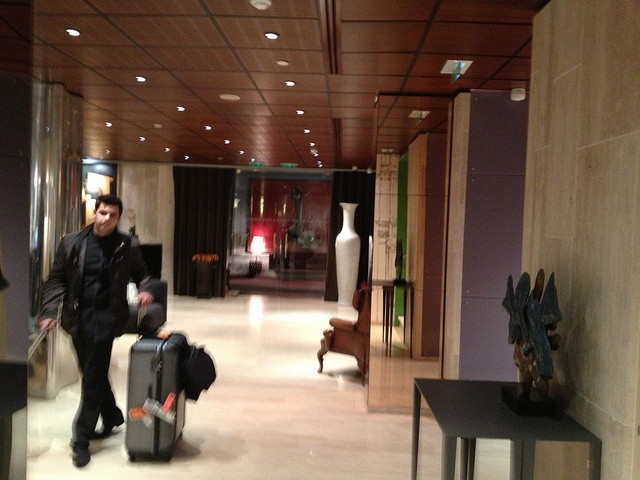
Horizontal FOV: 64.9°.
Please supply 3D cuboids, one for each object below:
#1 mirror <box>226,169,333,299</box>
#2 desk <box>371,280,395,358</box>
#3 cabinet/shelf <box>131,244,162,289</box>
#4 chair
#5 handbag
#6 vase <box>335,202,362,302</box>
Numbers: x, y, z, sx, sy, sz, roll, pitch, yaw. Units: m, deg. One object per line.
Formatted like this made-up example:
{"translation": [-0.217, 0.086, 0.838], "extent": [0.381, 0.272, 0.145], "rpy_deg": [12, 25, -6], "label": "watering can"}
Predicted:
{"translation": [-0.927, -0.153, 11.231], "extent": [2.755, 3.507, 0.124], "rpy_deg": [1, 7, -3], "label": "mirror"}
{"translation": [0.664, 0.711, 5.086], "extent": [0.203, 0.468, 0.250], "rpy_deg": [3, 0, 21], "label": "desk"}
{"translation": [-3.139, 0.333, 9.268], "extent": [0.313, 0.537, 0.316], "rpy_deg": [6, -1, -33], "label": "cabinet/shelf"}
{"translation": [0.205, 1.224, 6.396], "extent": [0.721, 1.119, 0.820], "rpy_deg": [2, -29, 2], "label": "chair"}
{"translation": [-2.640, 1.071, 4.814], "extent": [0.447, 0.766, 0.291], "rpy_deg": [4, 2, 12], "label": "handbag"}
{"translation": [0.602, 0.276, 11.075], "extent": [0.552, 2.279, 0.594], "rpy_deg": [-2, 3, 5], "label": "vase"}
